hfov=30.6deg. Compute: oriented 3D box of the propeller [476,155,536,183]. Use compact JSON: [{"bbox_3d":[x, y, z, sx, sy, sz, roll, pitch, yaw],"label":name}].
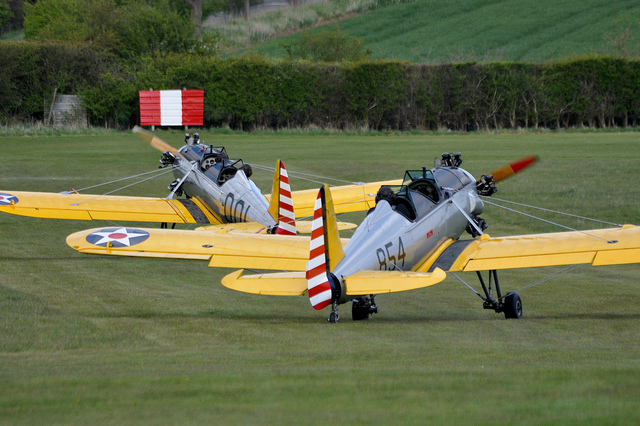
[{"bbox_3d":[8.584,-1.979,53.914,3.418,0.533,0.320,-26,6,13],"label":"propeller"}]
